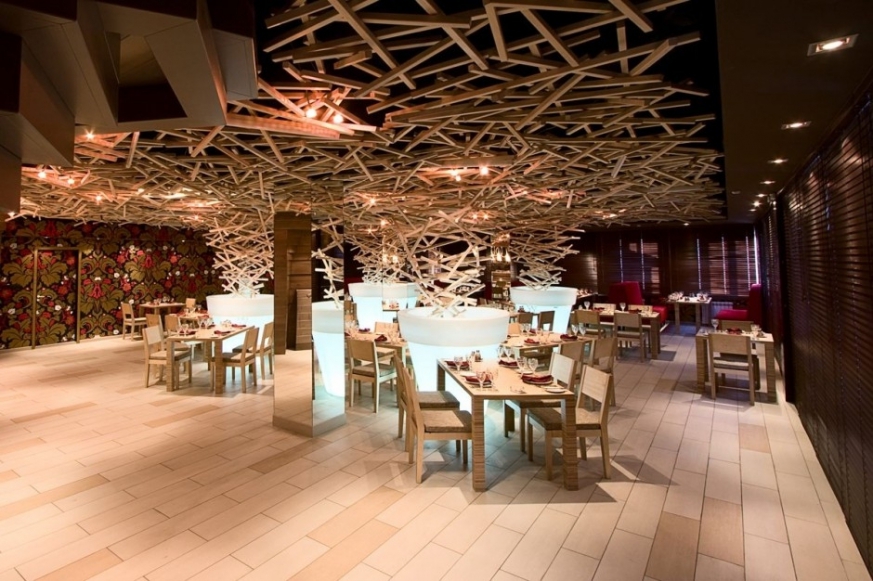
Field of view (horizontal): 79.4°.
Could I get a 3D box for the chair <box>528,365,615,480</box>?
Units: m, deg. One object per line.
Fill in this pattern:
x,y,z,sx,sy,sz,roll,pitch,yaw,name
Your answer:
1.474,1.474,5.996,1.006,0.962,0.965,-2,0,8,chair

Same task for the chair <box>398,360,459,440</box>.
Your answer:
-0.119,1.378,6.387,0.701,0.747,0.556,2,10,-10,chair

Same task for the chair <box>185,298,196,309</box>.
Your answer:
-6.227,0.329,13.262,0.253,0.236,0.248,-15,-20,33,chair

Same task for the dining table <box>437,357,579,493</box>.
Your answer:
0.841,1.510,6.055,1.447,1.126,1.313,-1,7,-2,dining table

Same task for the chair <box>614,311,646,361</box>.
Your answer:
4.102,0.884,11.154,0.684,0.982,2.009,2,7,21,chair

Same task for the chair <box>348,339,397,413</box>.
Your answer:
-0.938,1.198,7.747,0.782,0.826,0.738,2,-3,9,chair

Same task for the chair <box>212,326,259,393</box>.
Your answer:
-3.280,1.151,8.732,0.662,1.077,0.626,0,8,5,chair

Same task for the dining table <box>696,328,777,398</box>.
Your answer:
4.772,1.173,8.503,1.295,0.878,1.298,4,0,40,dining table

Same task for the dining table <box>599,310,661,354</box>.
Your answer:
3.978,0.776,11.056,1.483,0.926,1.202,1,4,43,dining table

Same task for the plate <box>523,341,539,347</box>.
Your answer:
1.453,0.832,8.096,0.220,0.044,0.233,0,6,11,plate

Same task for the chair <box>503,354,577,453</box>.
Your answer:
1.482,1.338,6.502,0.765,0.771,0.755,35,-19,-34,chair

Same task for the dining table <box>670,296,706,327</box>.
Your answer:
6.937,0.526,14.499,1.209,0.707,1.090,0,-5,17,dining table

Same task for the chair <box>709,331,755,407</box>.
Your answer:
4.676,1.094,8.312,0.681,1.006,1.540,3,7,29,chair

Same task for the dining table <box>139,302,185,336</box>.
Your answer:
-6.147,0.624,11.655,0.964,0.738,0.870,2,-10,-18,dining table

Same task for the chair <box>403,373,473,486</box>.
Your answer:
-0.002,1.596,6.317,1.235,1.345,1.093,-1,0,-3,chair

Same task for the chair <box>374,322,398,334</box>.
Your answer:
-0.883,0.685,9.229,0.298,0.212,0.265,3,-17,-6,chair
